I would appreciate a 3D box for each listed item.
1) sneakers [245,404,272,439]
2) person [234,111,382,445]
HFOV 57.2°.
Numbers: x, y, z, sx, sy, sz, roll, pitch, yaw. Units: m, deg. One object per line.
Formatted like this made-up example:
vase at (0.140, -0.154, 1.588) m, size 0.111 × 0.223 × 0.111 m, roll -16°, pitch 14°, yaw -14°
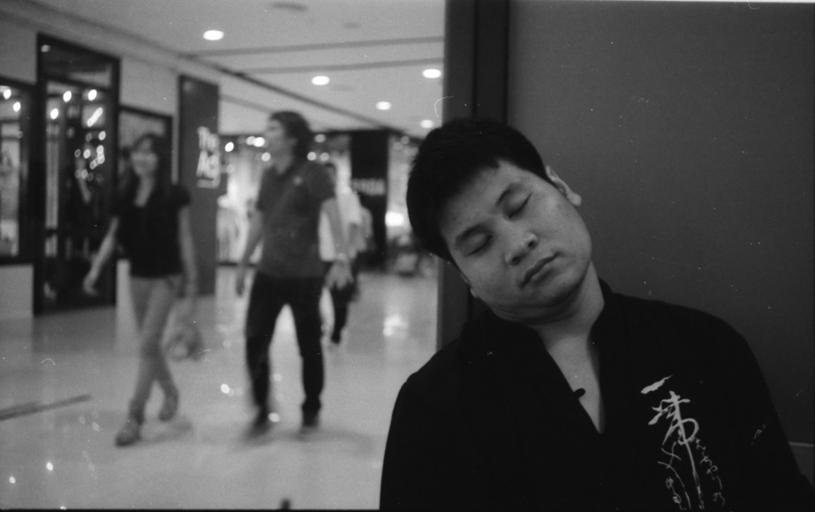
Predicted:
sneakers at (-0.665, 0.752, 3.367) m, size 0.103 × 0.142 × 0.036 m, roll 5°, pitch 1°, yaw 14°
person at (-0.493, 0.090, 3.320) m, size 0.484 × 1.462 × 0.115 m, roll 2°, pitch 0°, yaw 17°
